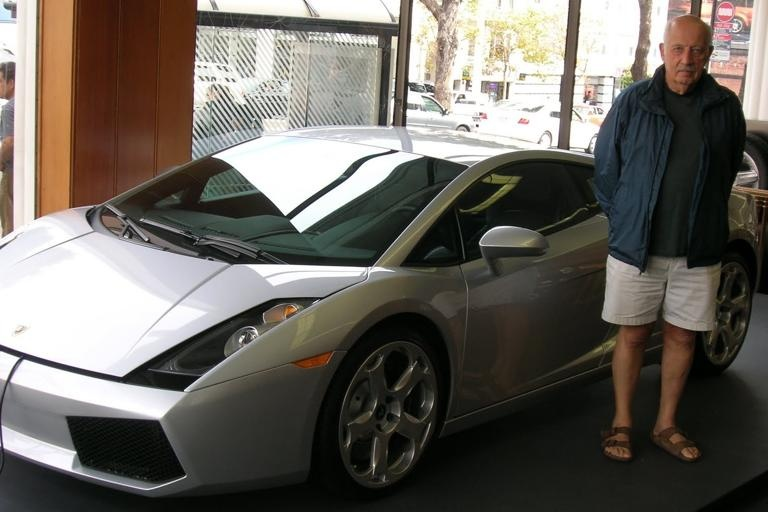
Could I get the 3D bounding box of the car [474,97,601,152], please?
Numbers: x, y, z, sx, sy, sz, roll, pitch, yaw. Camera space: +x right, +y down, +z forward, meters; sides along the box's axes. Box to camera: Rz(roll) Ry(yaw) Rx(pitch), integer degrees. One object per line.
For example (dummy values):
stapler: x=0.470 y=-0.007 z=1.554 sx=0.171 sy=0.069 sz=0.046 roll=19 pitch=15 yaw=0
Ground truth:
car: x=2.280 y=-1.605 z=7.674 sx=2.150 sy=0.724 sz=0.968 roll=-6 pitch=15 yaw=-34

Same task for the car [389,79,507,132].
car: x=0.766 y=-1.730 z=6.988 sx=1.613 sy=0.755 sz=0.847 roll=-5 pitch=19 yaw=-15
